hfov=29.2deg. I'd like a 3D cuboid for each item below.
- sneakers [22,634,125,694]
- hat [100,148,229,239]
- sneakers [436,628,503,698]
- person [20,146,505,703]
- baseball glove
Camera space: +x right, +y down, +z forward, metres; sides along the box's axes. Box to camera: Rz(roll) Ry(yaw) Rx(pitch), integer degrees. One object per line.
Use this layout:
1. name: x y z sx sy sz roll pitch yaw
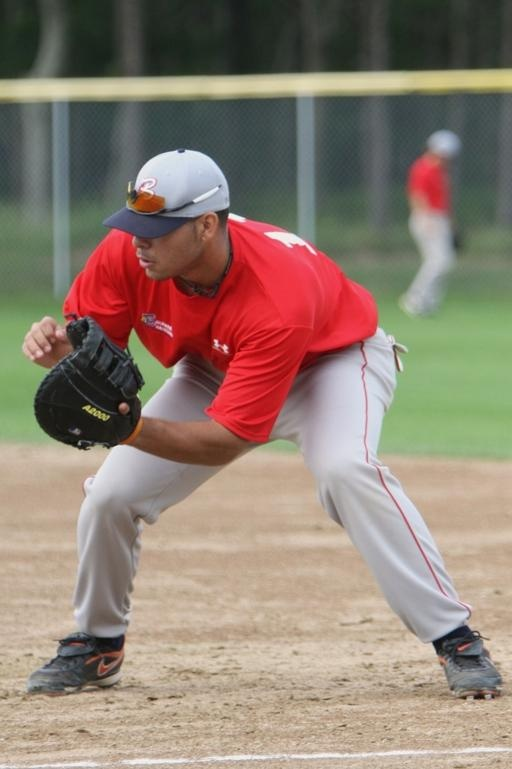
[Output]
1. sneakers: -0.431 0.676 2.380 0.110 0.130 0.302 -2 -7 33
2. hat: -0.185 -0.421 2.078 0.286 0.129 0.188 -31 47 -31
3. sneakers: 0.460 0.618 2.228 0.079 0.091 0.209 -36 20 6
4. person: -0.047 0.108 2.272 0.994 1.265 0.685 -3 12 -12
5. baseball glove: -0.343 0.021 1.979 0.237 0.271 0.135 -16 32 -19
